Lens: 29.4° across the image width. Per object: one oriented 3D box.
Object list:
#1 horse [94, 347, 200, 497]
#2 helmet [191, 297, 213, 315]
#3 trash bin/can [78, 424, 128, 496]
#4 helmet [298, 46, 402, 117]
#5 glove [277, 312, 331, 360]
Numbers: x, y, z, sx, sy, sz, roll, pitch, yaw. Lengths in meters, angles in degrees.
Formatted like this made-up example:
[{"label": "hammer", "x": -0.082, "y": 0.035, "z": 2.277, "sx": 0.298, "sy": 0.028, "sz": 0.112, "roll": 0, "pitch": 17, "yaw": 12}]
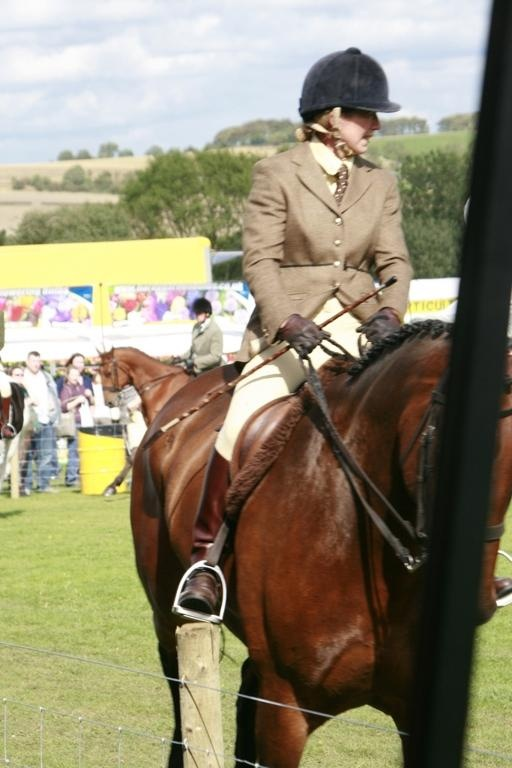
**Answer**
[{"label": "horse", "x": -0.919, "y": 0.255, "z": 10.871, "sx": 0.478, "sy": 1.225, "sz": 1.941, "roll": -7, "pitch": -4, "yaw": 41}, {"label": "helmet", "x": -0.526, "y": -0.772, "z": 9.467, "sx": 0.142, "sy": 0.167, "sz": 0.185, "roll": 0, "pitch": 3, "yaw": -10}, {"label": "trash bin/can", "x": -2.020, "y": 1.040, "z": 12.708, "sx": 0.782, "sy": 1.035, "sz": 0.747, "roll": 1, "pitch": -1, "yaw": -23}, {"label": "helmet", "x": 0.265, "y": -0.934, "z": 3.033, "sx": 0.354, "sy": 0.202, "sz": 0.107, "roll": 7, "pitch": 14, "yaw": 36}, {"label": "glove", "x": 0.141, "y": -0.146, "z": 2.951, "sx": 0.109, "sy": 0.054, "sz": 0.142, "roll": -42, "pitch": 30, "yaw": -9}]
